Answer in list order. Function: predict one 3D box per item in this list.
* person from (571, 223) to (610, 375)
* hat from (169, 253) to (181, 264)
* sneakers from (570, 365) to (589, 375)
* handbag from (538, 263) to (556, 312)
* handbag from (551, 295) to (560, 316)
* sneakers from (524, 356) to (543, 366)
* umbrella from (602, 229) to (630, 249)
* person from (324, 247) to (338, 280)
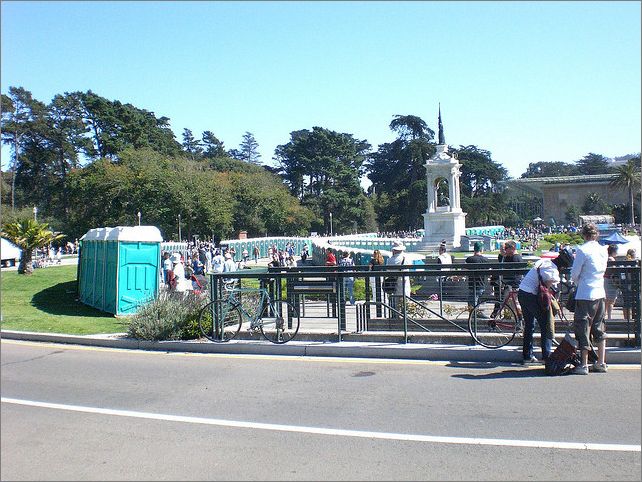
[{"bbox_3d":[4.753,1.013,12.494,0.627,2.649,0.463,-3,10,-5],"label":"person"},{"bbox_3d":[-4.399,0.524,21.776,0.282,0.360,0.344,2,-19,-32],"label":"hat"},{"bbox_3d":[4.574,2.277,12.547,0.123,0.135,0.295,0,2,-39],"label":"sneakers"},{"bbox_3d":[4.021,0.883,12.672,0.285,0.763,0.425,1,10,18],"label":"handbag"},{"bbox_3d":[4.281,1.192,12.918,0.129,0.367,0.260,-15,7,20],"label":"handbag"},{"bbox_3d":[3.886,2.219,13.117,0.422,0.182,0.145,-3,2,-10],"label":"sneakers"},{"bbox_3d":[13.666,-0.168,32.838,1.464,0.516,1.517,2,-1,9],"label":"umbrella"},{"bbox_3d":[0.387,0.711,23.384,0.487,1.696,0.868,0,-3,8],"label":"person"}]
